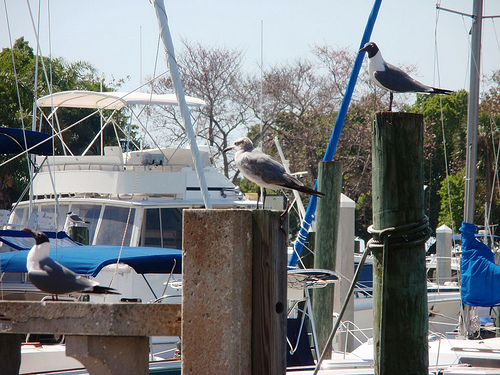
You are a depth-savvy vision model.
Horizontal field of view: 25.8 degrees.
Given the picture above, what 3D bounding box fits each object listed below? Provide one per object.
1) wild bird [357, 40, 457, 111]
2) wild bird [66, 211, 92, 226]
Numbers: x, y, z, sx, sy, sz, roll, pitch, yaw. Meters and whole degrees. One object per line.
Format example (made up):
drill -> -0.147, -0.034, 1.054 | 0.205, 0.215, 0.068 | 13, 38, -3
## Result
wild bird -> 3.167, -2.442, 23.596 | 1.440, 1.593, 0.654 | 0, -8, 1
wild bird -> -4.423, 0.801, 28.349 | 0.720, 0.497, 0.265 | 0, -2, 2
